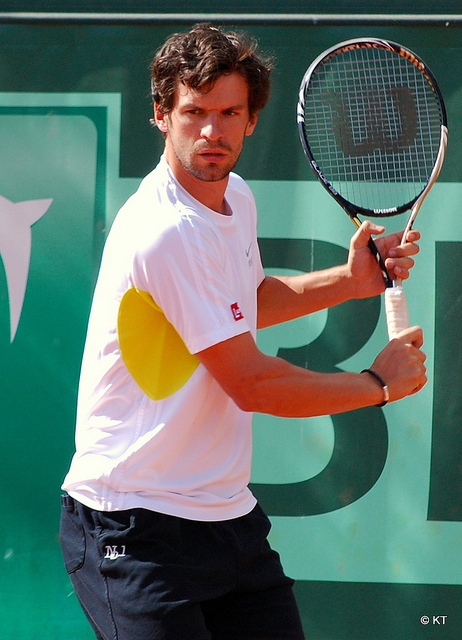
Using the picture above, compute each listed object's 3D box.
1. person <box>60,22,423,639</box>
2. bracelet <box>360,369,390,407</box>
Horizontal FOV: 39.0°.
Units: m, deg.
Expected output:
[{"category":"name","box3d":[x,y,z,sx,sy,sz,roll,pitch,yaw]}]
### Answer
[{"category":"person","box3d":[-0.067,0.027,1.667,0.822,1.572,0.536,-13,16,-36]},{"category":"bracelet","box3d":[0.384,0.178,1.756,0.033,0.093,0.077,-15,16,-39]}]
